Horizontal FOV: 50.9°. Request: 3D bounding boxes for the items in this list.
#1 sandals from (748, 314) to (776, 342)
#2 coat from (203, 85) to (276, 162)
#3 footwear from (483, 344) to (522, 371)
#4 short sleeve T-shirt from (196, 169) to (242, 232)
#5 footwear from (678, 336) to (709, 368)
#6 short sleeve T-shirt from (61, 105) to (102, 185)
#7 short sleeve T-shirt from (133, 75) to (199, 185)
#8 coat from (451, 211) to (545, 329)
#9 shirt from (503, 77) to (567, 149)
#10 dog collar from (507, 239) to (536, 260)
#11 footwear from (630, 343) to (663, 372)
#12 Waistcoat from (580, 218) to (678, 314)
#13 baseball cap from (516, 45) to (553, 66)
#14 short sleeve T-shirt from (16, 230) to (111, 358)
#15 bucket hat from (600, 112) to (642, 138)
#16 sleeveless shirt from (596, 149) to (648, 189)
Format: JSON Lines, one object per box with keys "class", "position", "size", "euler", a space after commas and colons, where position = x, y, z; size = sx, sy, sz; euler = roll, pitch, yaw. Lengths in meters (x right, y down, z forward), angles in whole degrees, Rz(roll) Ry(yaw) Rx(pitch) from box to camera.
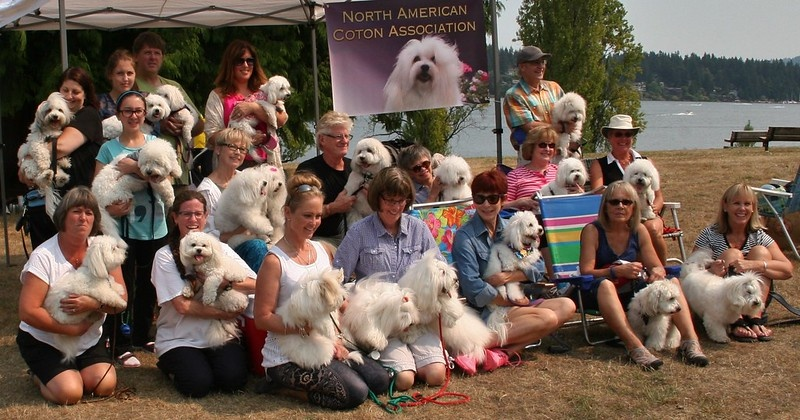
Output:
{"class": "sandals", "position": [5.622, 1.843, 13.088], "size": [0.250, 0.227, 0.566], "euler": [-3, -1, 10]}
{"class": "coat", "position": [-2.732, -1.450, 14.574], "size": [1.072, 1.238, 0.471], "euler": [0, 0, 10]}
{"class": "footwear", "position": [1.533, 2.215, 12.676], "size": [0.724, 0.252, 0.317], "euler": [8, -38, -38]}
{"class": "short sleeve T-shirt", "position": [-3.074, -0.090, 13.036], "size": [0.683, 0.901, 0.877], "euler": [-8, -8, 23]}
{"class": "footwear", "position": [4.429, 2.137, 12.676], "size": [0.308, 0.334, 0.437], "euler": [-3, 9, -26]}
{"class": "short sleeve T-shirt", "position": [-5.219, -0.983, 13.263], "size": [0.423, 1.301, 0.745], "euler": [7, -9, 10]}
{"class": "short sleeve T-shirt", "position": [-3.816, -1.486, 14.233], "size": [1.074, 2.304, 0.668], "euler": [1, 2, 41]}
{"class": "coat", "position": [1.564, 0.646, 13.022], "size": [1.064, 1.372, 1.039], "euler": [4, 16, -27]}
{"class": "shirt", "position": [2.379, -1.692, 15.078], "size": [1.057, 1.227, 0.576], "euler": [-4, 10, -29]}
{"class": "dog collar", "position": [1.878, 0.594, 12.863], "size": [0.253, 0.118, 0.319], "euler": [6, 20, 7]}
{"class": "footwear", "position": [3.689, 2.201, 12.551], "size": [0.247, 0.178, 0.444], "euler": [-24, 31, -28]}
{"class": "Waistcoat", "position": [3.416, 0.878, 13.136], "size": [1.389, 1.842, 1.459], "euler": [-1, -1, -18]}
{"class": "baseball cap", "position": [2.371, -2.752, 14.985], "size": [0.560, 0.303, 0.407], "euler": [2, 8, 6]}
{"class": "short sleeve T-shirt", "position": [-5.048, 1.237, 12.163], "size": [1.310, 1.660, 0.712], "euler": [0, -10, 42]}
{"class": "bucket hat", "position": [3.844, -1.461, 14.631], "size": [0.604, 0.348, 0.388], "euler": [3, 8, 12]}
{"class": "sleeveless shirt", "position": [3.899, -0.646, 14.769], "size": [1.023, 0.920, 0.538], "euler": [-2, -1, -8]}
